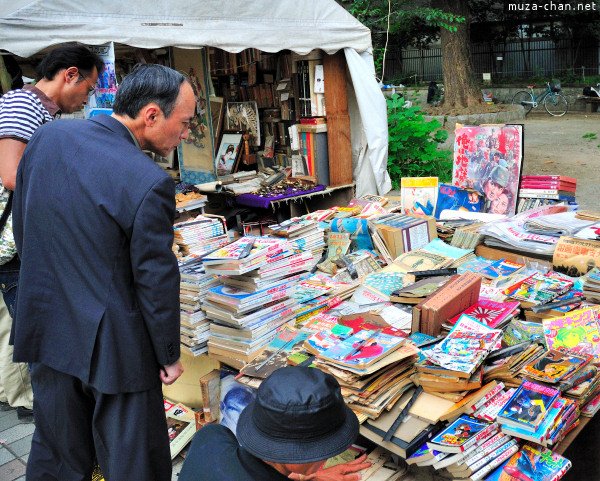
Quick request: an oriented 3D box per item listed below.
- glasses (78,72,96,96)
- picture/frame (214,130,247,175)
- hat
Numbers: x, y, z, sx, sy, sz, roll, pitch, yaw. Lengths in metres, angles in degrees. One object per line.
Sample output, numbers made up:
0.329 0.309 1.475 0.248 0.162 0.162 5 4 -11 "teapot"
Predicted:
-1.469 -1.082 3.163 0.048 0.141 0.149 24 -8 -37 "glasses"
-1.249 -1.444 7.627 0.598 0.686 0.531 4 14 37 "picture/frame"
-0.002 0.560 1.456 0.351 0.126 0.319 4 22 12 "hat"
